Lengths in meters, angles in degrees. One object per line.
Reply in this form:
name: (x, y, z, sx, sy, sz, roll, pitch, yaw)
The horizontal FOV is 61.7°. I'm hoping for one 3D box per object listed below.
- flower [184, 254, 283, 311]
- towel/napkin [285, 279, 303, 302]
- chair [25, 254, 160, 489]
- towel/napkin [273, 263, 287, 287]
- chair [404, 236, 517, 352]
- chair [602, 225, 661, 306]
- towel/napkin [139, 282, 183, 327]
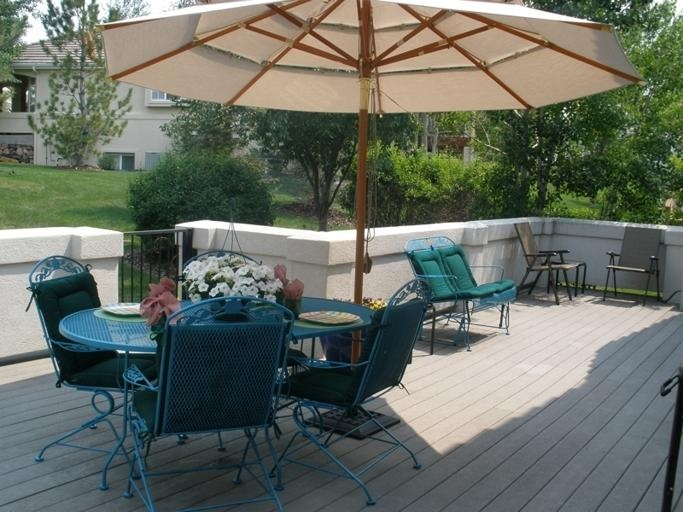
flower: (-0.654, 0.105, 3.541, 0.397, 0.225, 0.393, 7, 6, 18)
towel/napkin: (-0.347, 0.229, 3.881, 0.134, 0.157, 0.133, 7, 10, 27)
chair: (-1.542, 0.695, 3.860, 1.022, 1.267, 0.957, 2, 7, -23)
towel/napkin: (-0.410, 0.132, 3.812, 0.086, 0.130, 0.080, -16, 34, -5)
chair: (1.347, 0.289, 6.670, 1.193, 1.494, 1.741, 1, 4, 32)
chair: (4.538, 0.128, 8.896, 0.816, 1.009, 0.647, -8, 13, -40)
towel/napkin: (-1.035, 0.223, 3.139, 0.254, 0.127, 0.272, -24, 39, -2)
